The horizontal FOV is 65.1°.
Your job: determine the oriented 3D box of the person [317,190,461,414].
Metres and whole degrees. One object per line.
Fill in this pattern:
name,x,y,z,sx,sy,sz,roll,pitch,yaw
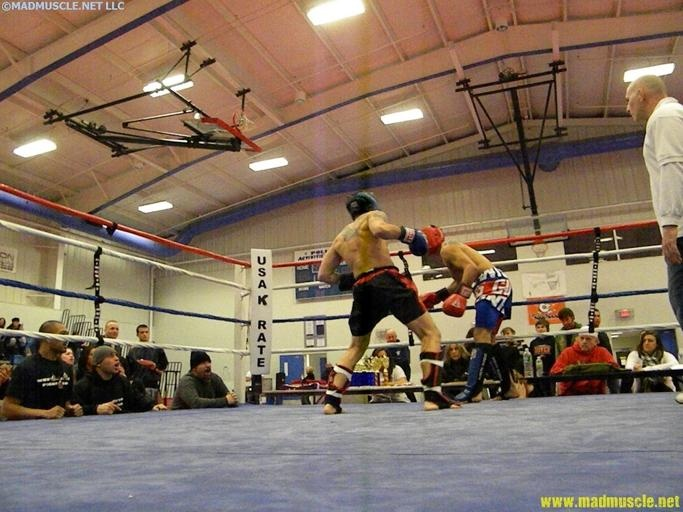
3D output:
person,0.245,0.208,3.087,0.777,1.322,0.527,-2,-13,4

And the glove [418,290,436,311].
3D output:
glove,0.564,0.294,3.443,0.136,0.133,0.052,-2,31,-2

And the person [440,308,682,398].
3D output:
person,1.862,0.863,4.151,1.261,0.379,1.039,-4,-15,4

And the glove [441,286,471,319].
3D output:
glove,0.693,0.276,3.258,0.085,0.194,0.178,32,-22,50

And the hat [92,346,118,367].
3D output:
hat,-1.478,0.629,3.399,0.178,0.099,0.141,4,-4,3

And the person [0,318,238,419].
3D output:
person,-1.335,0.663,3.148,0.911,0.489,0.531,-13,-15,13
